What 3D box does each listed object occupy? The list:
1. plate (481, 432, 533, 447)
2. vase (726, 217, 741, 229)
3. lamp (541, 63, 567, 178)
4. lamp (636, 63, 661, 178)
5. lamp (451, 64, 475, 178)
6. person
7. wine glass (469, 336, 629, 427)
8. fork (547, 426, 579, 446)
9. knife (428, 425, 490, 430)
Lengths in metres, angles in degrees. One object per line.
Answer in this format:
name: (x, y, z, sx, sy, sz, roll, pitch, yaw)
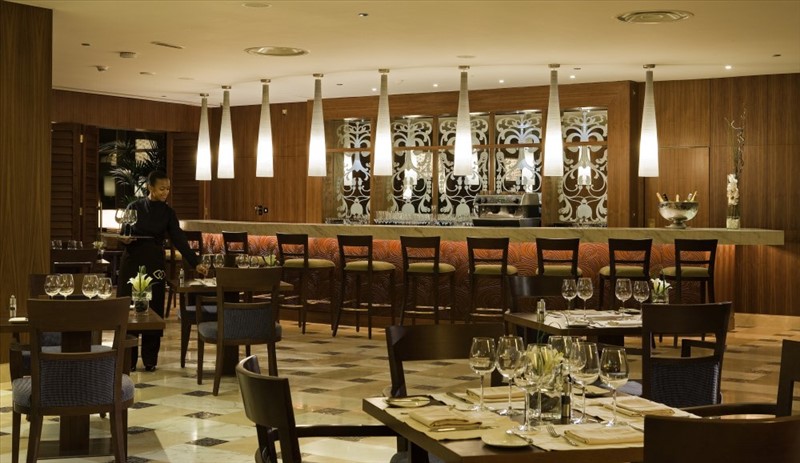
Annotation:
plate: (0.533, 1.051, 3.047, 0.240, 0.042, 0.133, -1, -2, 13)
vase: (5.544, -0.142, 10.177, 0.262, 0.228, 0.258, -1, -2, 20)
lamp: (2.703, -1.979, 11.273, 0.431, 1.956, 0.406, 4, 11, 11)
lamp: (4.610, -2.029, 11.342, 0.300, 1.603, 0.543, -1, -1, 20)
lamp: (1.168, -2.070, 11.391, 0.305, 2.012, 0.592, -1, -1, 6)
person: (-2.814, 0.533, 7.369, 1.095, 2.369, 0.887, 2, 11, -10)
wine glass: (0.892, 0.821, 3.368, 0.694, 0.337, 0.260, 0, -1, -11)
fork: (0.829, 1.037, 3.099, 0.046, 0.034, 0.255, 1, 8, -11)
knife: (0.311, 1.025, 3.171, 0.322, 0.021, 0.047, 0, -2, -6)
